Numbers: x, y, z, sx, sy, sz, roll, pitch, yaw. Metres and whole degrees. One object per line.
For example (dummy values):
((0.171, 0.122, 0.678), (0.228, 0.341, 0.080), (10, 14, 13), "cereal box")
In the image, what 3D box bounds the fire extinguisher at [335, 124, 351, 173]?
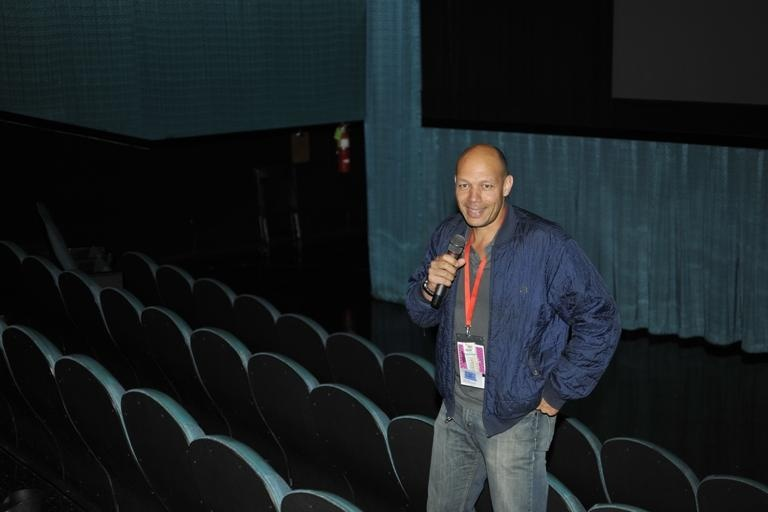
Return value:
((-0.753, -1.939, 10.000), (0.263, 0.864, 0.396), (-1, 14, -5), "fire extinguisher")

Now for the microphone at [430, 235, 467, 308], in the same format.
((0.346, 0.038, 2.887), (0.117, 0.469, 0.119), (17, -27, 13), "microphone")

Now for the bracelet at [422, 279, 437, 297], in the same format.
((0.231, 0.165, 2.893), (0.067, 0.034, 0.084), (12, 26, -31), "bracelet")
